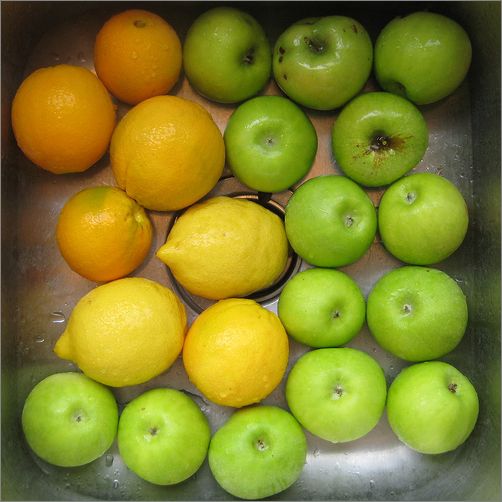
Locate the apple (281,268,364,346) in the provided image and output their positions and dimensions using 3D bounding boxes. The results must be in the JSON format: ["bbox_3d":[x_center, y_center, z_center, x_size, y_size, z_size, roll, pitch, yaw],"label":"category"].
[{"bbox_3d":[0.113,0.092,1.005,0.135,0.068,0.120,-1,72,7],"label":"apple"}]

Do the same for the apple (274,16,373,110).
[{"bbox_3d":[0.116,-0.313,1.017,0.160,0.092,0.131,7,73,10],"label":"apple"}]

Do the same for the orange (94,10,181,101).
[{"bbox_3d":[-0.185,-0.313,1.058,0.122,0.142,0.137,-10,40,-38],"label":"orange"}]

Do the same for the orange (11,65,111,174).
[{"bbox_3d":[-0.283,-0.187,1.039,0.152,0.121,0.157,-32,93,-3],"label":"orange"}]

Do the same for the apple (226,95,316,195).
[{"bbox_3d":[0.038,-0.190,1.050,0.188,0.189,0.114,-4,78,12],"label":"apple"}]

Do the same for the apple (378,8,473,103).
[{"bbox_3d":[0.307,-0.322,1.038,0.145,0.113,0.123,57,39,-23],"label":"apple"}]

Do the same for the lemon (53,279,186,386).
[{"bbox_3d":[-0.185,0.127,0.988,0.180,0.153,0.164,8,77,-3],"label":"lemon"}]

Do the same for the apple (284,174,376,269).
[{"bbox_3d":[0.125,-0.048,0.983,0.130,0.105,0.146,0,93,-8],"label":"apple"}]

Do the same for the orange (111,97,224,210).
[{"bbox_3d":[-0.121,-0.148,0.926,0.156,0.168,0.135,-10,28,-11],"label":"orange"}]

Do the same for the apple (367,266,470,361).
[{"bbox_3d":[0.278,0.112,1.068,0.184,0.193,0.161,-9,88,13],"label":"apple"}]

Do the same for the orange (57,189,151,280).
[{"bbox_3d":[-0.239,-0.037,1.030,0.155,0.168,0.167,-2,94,-13],"label":"orange"}]

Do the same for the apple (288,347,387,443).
[{"bbox_3d":[0.138,0.236,1.002,0.158,0.089,0.159,-6,69,3],"label":"apple"}]

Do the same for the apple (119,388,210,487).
[{"bbox_3d":[-0.132,0.289,1.012,0.132,0.106,0.146,8,90,-1],"label":"apple"}]

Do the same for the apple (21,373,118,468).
[{"bbox_3d":[-0.290,0.279,1.035,0.152,0.161,0.171,1,97,-23],"label":"apple"}]
